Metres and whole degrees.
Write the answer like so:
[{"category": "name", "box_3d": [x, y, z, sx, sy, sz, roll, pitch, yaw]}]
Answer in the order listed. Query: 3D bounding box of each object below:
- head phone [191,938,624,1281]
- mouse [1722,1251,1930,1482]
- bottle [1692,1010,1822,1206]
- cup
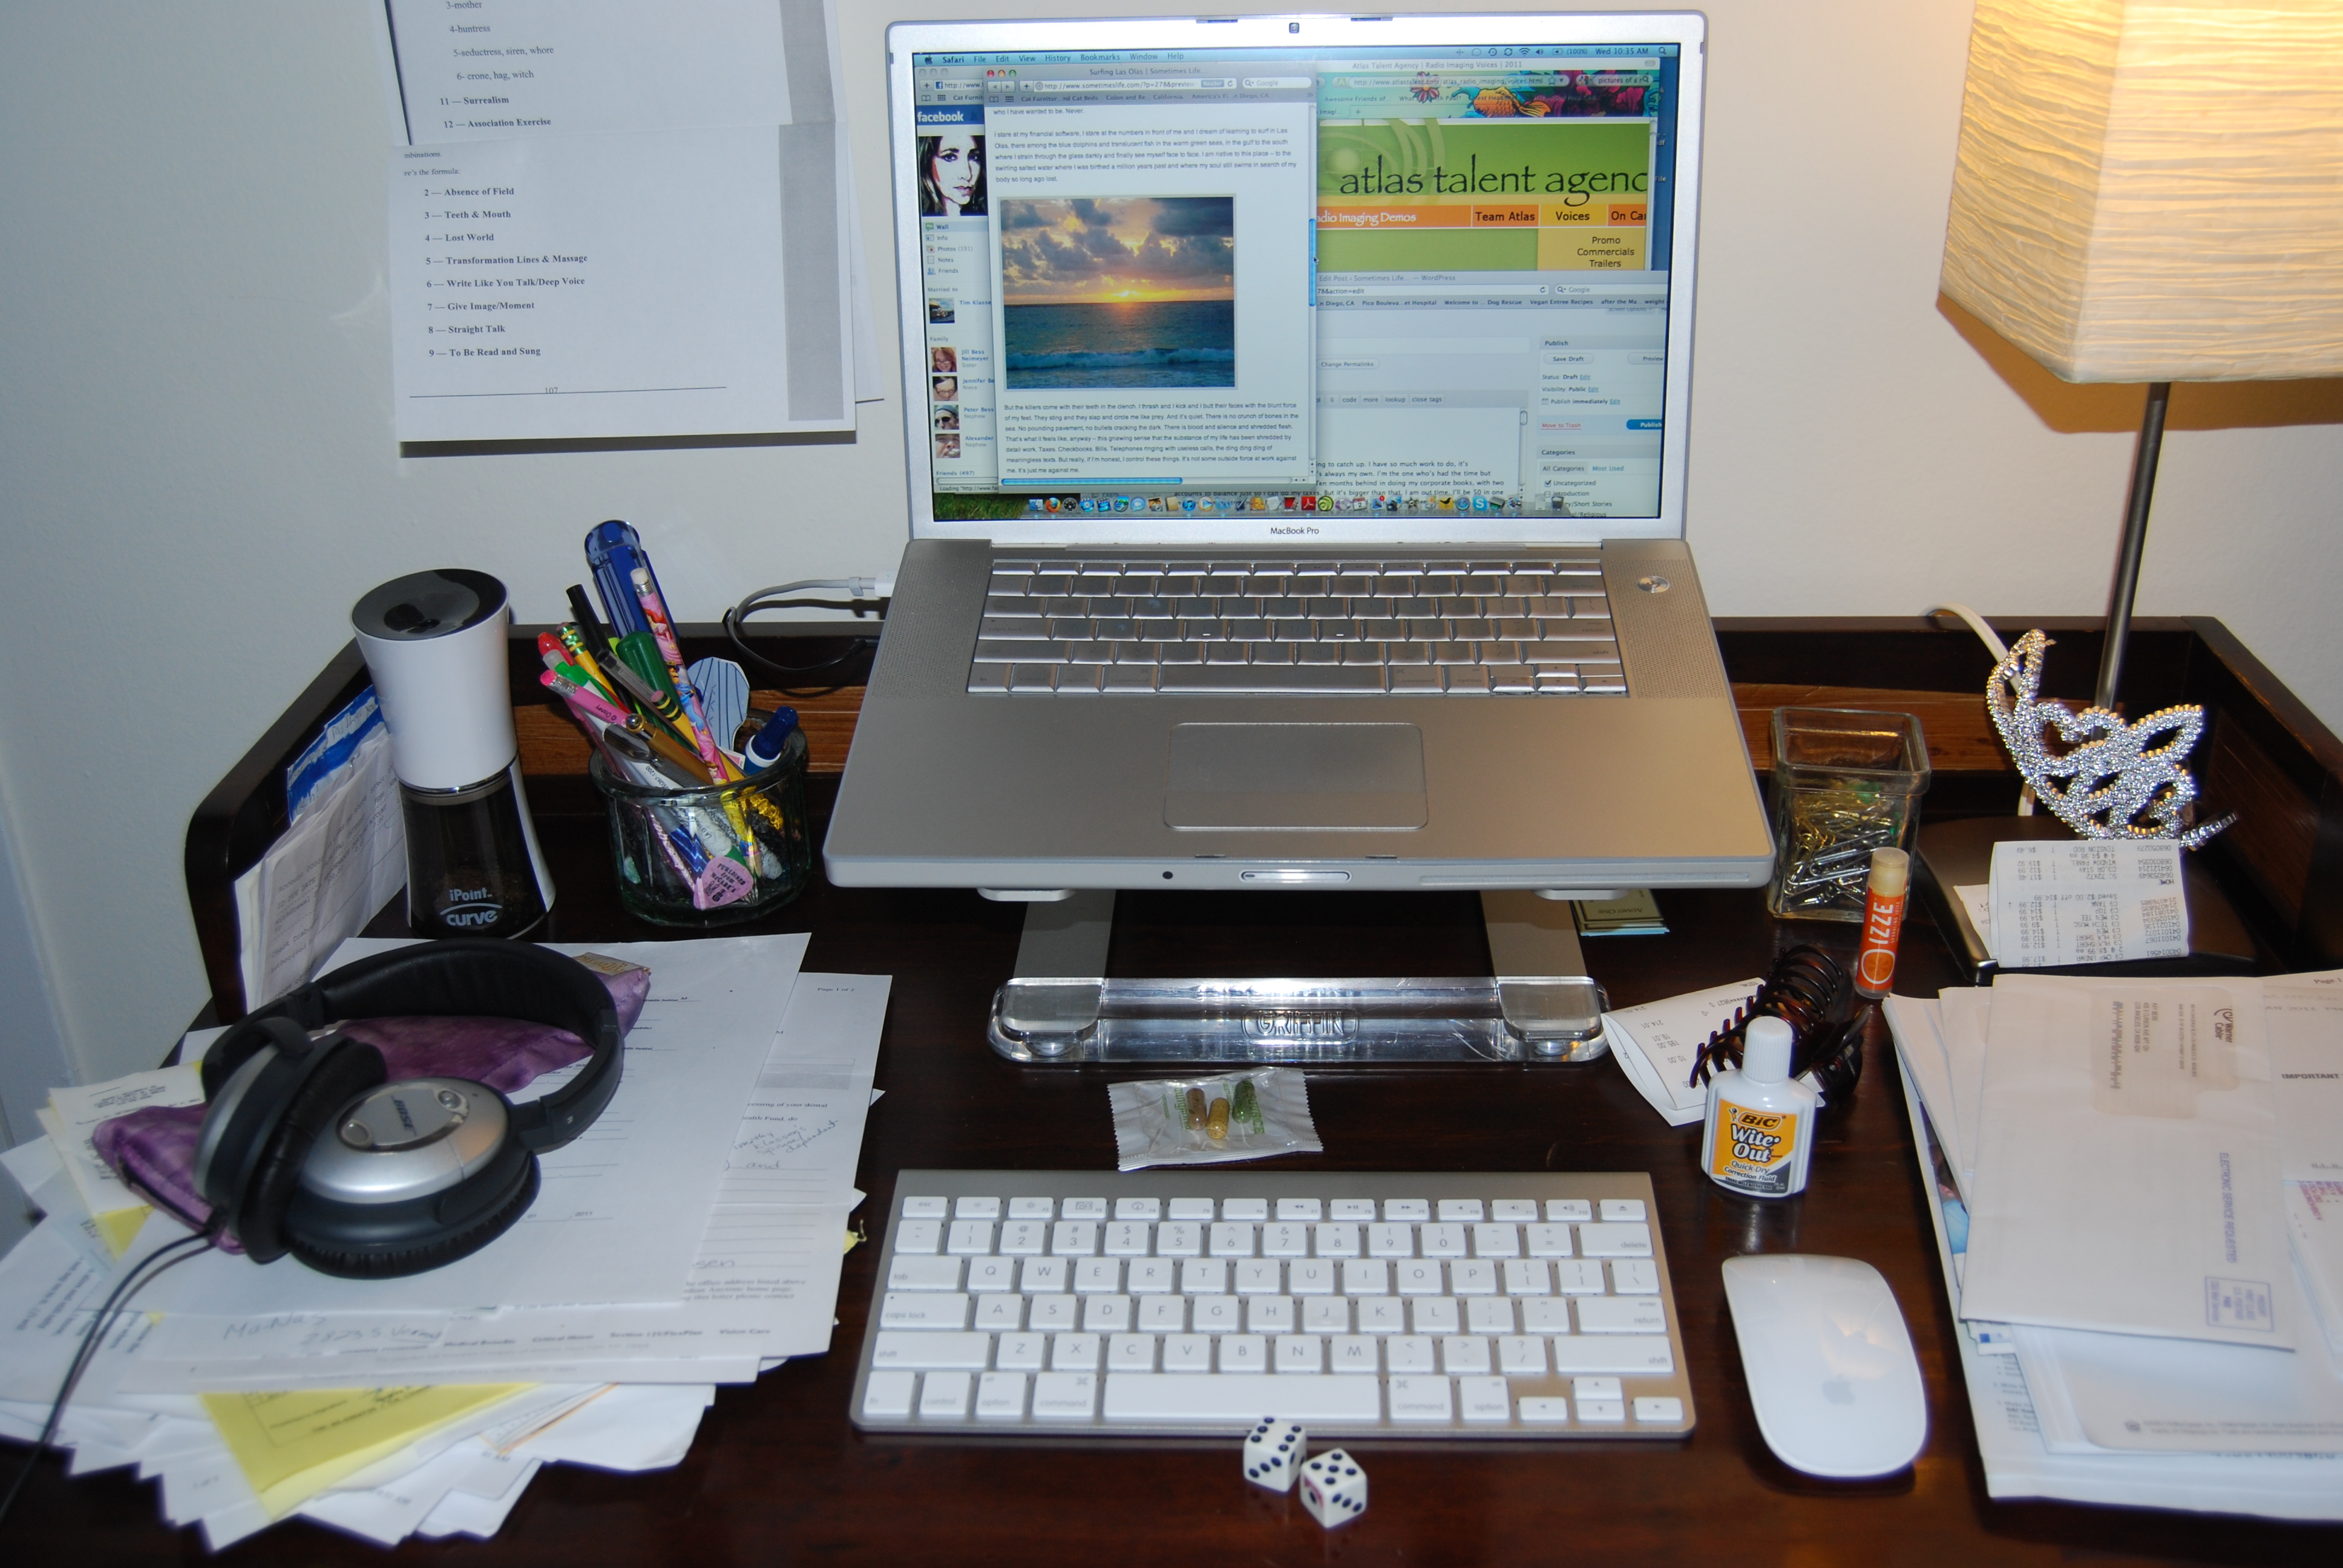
[{"category": "head phone", "box_3d": [-0.472, 0.207, 1.049, 0.189, 0.095, 0.210, 15, 30, 7]}, {"category": "mouse", "box_3d": [0.364, 0.323, 0.934, 0.091, 0.058, 0.111, -1, 23, 4]}, {"category": "bottle", "box_3d": [0.365, 0.198, 1.038, 0.066, 0.111, 0.054, 7, 26, 20]}, {"category": "cup", "box_3d": [0.495, 0.026, 1.232, 0.121, 0.157, 0.114, -3, 36, 2]}]
